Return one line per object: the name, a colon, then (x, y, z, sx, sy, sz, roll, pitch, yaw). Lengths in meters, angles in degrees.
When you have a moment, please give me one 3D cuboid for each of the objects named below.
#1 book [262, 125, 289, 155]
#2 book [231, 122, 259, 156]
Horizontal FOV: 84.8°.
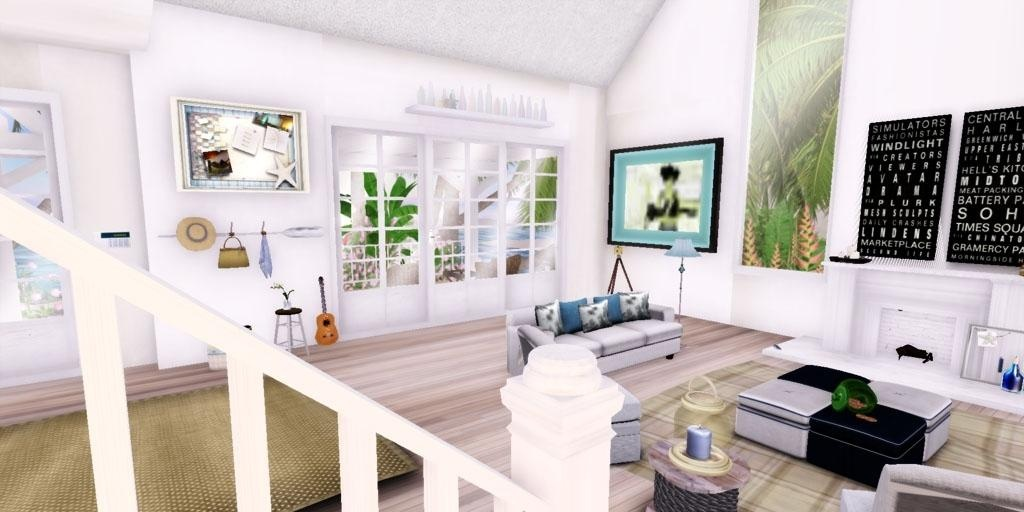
book: (-4.020, -1.951, 9.514, 0.420, 0.462, 0.055, -2, 9, -14)
book: (-4.446, -1.932, 9.368, 0.466, 0.511, 0.033, -3, 9, -18)
